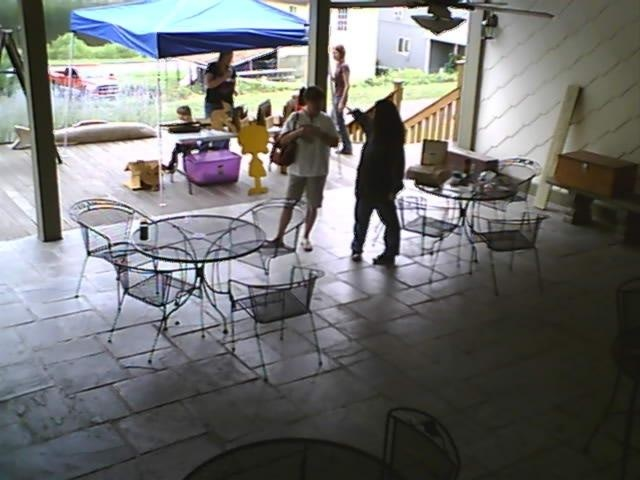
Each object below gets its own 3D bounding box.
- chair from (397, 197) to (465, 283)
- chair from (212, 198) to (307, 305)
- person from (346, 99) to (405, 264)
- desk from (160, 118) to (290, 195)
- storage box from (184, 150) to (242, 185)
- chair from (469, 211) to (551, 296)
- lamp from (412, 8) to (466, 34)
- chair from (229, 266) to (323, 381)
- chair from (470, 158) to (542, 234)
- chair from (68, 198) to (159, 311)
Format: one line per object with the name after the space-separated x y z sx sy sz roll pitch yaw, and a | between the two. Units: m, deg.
1.368 0.042 6.674 0.664 0.872 0.723 -17 35 -18 | chair
-0.643 0.159 5.842 0.783 1.010 0.816 33 41 29 | chair
0.681 -0.653 6.304 0.664 1.976 0.371 6 26 8 | person
-1.210 -1.374 9.209 1.549 1.095 0.950 1 10 27 | desk
-2.083 -1.192 9.102 0.779 0.523 1.099 21 15 32 | storage box
2.320 0.211 6.527 0.846 0.888 0.712 -5 36 -3 | chair
1.004 -1.900 4.625 0.377 0.224 0.455 12 25 22 | lamp
-0.400 0.708 5.009 0.774 0.905 0.749 -11 19 -39 | chair
2.492 -0.580 7.219 0.795 0.946 0.789 -12 39 -11 | chair
-2.294 0.130 5.984 0.861 1.021 0.828 14 21 28 | chair
